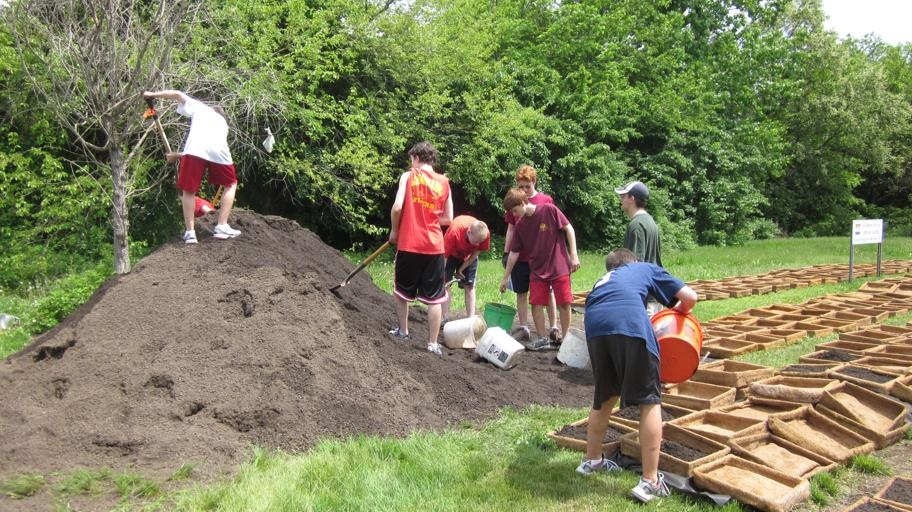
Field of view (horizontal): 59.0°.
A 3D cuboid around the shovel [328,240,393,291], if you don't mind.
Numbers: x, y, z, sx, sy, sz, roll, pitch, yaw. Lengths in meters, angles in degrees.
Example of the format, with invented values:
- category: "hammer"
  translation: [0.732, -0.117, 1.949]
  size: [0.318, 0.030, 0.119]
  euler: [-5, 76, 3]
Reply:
- category: "shovel"
  translation: [-2.163, 0.381, 18.784]
  size: [0.174, 0.696, 2.106]
  euler: [31, -49, -27]

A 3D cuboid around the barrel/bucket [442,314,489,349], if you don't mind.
- category: "barrel/bucket"
  translation: [0.175, 1.790, 18.724]
  size: [0.890, 0.841, 0.802]
  euler: [-7, 18, 8]

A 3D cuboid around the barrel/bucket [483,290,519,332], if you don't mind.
- category: "barrel/bucket"
  translation: [1.046, 1.434, 19.499]
  size: [0.695, 0.653, 0.710]
  euler: [6, -1, 0]

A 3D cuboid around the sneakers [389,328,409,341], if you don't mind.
- category: "sneakers"
  translation: [-1.308, 1.774, 18.345]
  size: [0.502, 0.216, 0.184]
  euler: [18, 8, 12]
